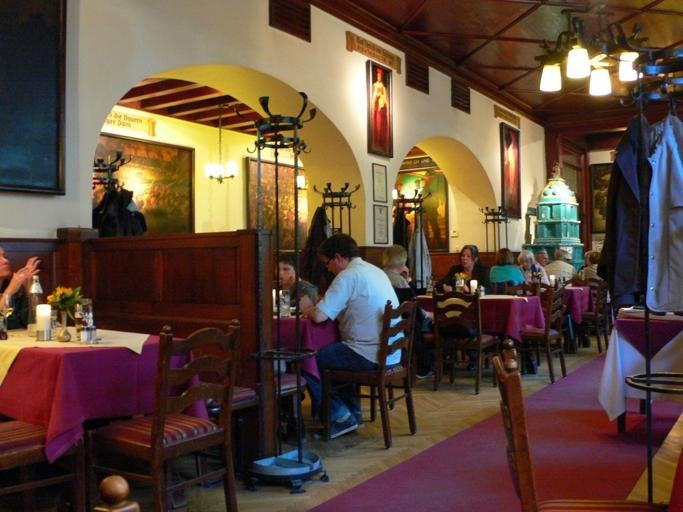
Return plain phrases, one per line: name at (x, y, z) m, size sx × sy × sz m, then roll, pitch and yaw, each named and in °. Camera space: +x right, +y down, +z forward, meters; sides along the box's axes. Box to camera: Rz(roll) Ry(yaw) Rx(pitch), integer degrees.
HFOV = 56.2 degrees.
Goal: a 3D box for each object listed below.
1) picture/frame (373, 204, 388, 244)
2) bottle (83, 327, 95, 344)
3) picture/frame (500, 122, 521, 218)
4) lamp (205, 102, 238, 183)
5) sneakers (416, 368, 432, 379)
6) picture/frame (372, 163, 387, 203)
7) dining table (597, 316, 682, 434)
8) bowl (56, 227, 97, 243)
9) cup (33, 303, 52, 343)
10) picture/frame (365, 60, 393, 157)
picture/frame at (0.544, -0.487, 9.223) m, size 0.041 × 0.635 × 0.518 m, roll -3°, pitch -4°, yaw 28°
bottle at (-1.585, 0.489, 3.994) m, size 0.090 × 0.097 × 0.110 m, roll -2°, pitch 2°, yaw -23°
picture/frame at (3.392, -1.746, 12.932) m, size 0.083 × 2.559 × 1.764 m, roll -2°, pitch -4°, yaw 24°
lamp at (-2.020, -1.821, 10.626) m, size 0.518 × 1.138 × 1.551 m, roll -1°, pitch 2°, yaw -10°
sneakers at (0.958, 1.369, 7.506) m, size 0.074 × 0.090 × 0.209 m, roll 0°, pitch 0°, yaw 28°
picture/frame at (0.522, -1.050, 9.121) m, size 0.041 × 0.655 × 0.523 m, roll -4°, pitch -5°, yaw 29°
dining table at (2.394, 0.895, 5.364) m, size 0.799 × 0.847 × 0.850 m, roll 0°, pitch -3°, yaw 24°
bowl at (-2.304, -0.194, 5.540) m, size 0.331 × 0.124 × 0.106 m, roll -2°, pitch 2°, yaw -27°
cup at (-1.919, 0.421, 4.107) m, size 0.085 × 0.226 × 0.074 m, roll -2°, pitch 2°, yaw -21°
picture/frame at (0.540, -2.107, 9.200) m, size 0.170 × 1.345 × 0.739 m, roll 0°, pitch 2°, yaw 26°
